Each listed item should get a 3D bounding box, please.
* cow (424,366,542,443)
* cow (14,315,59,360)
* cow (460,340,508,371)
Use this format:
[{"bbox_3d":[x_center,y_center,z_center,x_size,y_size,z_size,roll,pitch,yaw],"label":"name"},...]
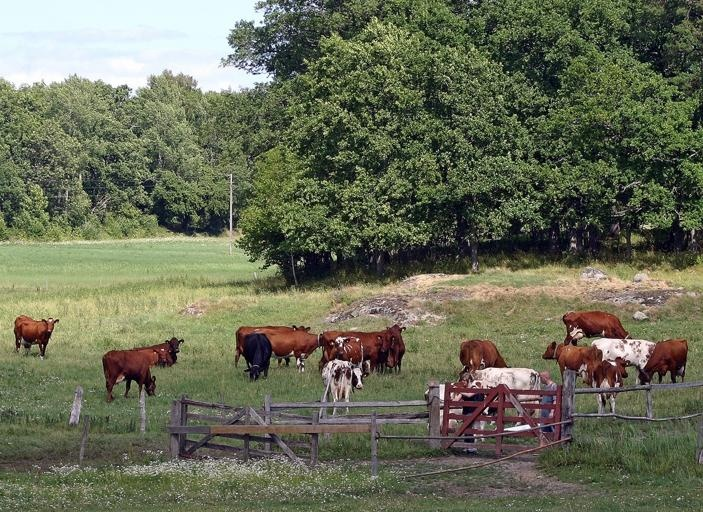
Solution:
[{"bbox_3d":[9.128,9.921,102.474,5.771,5.544,4.397,1,0,4],"label":"cow"},{"bbox_3d":[-22.389,5.496,116.684,3.147,4.109,2.083,1,-2,4],"label":"cow"},{"bbox_3d":[8.900,7.043,108.632,1.680,2.977,5.149,1,-3,32],"label":"cow"}]
